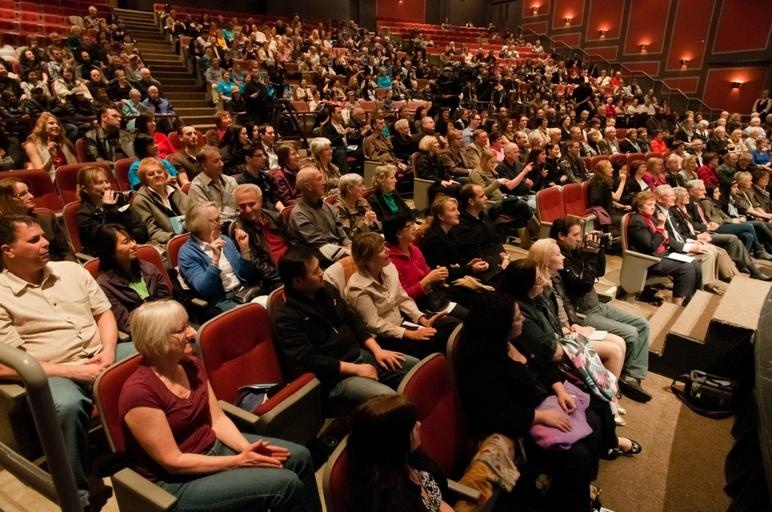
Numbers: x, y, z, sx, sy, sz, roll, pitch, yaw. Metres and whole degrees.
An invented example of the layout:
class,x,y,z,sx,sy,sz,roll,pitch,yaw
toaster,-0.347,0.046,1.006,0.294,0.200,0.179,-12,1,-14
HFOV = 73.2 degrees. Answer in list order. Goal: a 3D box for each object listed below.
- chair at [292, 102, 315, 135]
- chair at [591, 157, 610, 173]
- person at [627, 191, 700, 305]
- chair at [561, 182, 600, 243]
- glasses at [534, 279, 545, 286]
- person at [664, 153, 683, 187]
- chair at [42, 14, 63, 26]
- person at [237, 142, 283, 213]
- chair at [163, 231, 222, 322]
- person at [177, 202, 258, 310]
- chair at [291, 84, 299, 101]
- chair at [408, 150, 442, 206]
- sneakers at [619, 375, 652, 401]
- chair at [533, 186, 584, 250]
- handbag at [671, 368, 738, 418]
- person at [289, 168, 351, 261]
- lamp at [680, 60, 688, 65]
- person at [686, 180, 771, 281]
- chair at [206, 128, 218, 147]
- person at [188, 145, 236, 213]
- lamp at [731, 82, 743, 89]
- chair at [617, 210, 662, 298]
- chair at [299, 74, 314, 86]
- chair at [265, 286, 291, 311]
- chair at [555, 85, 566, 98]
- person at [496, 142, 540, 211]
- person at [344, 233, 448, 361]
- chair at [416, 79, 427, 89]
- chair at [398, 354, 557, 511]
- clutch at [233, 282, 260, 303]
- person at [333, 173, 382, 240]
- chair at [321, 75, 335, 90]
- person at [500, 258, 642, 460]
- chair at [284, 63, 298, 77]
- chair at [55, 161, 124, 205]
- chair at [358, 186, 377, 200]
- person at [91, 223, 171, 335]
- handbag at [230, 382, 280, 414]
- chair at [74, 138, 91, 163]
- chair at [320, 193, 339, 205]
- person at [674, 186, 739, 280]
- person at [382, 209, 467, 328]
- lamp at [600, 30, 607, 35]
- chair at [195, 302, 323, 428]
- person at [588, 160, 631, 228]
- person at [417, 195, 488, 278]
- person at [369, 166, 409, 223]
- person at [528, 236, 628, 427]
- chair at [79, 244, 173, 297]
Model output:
class,x,y,z,sx,sy,sz,roll,pitch,yaw
chair,-1.681,-2.854,10.710,0.651,0.667,0.547,-10,23,-29
chair,3.088,-1.269,7.359,0.226,0.215,0.443,12,22,25
person,3.253,-0.060,6.118,0.691,1.366,0.489,3,19,42
chair,2.725,-0.538,7.045,0.642,0.883,0.468,-15,11,-36
glasses,1.286,0.225,4.336,0.084,0.024,0.085,-4,7,-12
person,4.645,-1.409,8.378,0.333,0.483,0.815,12,22,26
chair,-8.180,-5.830,12.787,0.520,0.328,0.493,-20,30,-33
person,-1.434,-0.879,6.074,0.645,0.821,0.602,1,24,-5
chair,-1.839,0.187,4.746,0.357,0.612,0.385,1,13,-31
person,-1.485,0.021,4.753,0.616,1.054,0.678,-3,15,17
chair,-1.985,-3.585,11.419,0.220,0.275,0.729,-2,21,-10
chair,0.731,-1.129,8.016,0.475,0.842,0.508,23,33,38
sneakers,2.301,1.232,4.824,0.255,0.089,0.186,26,33,22
chair,2.436,-0.539,6.904,0.979,0.684,0.536,-14,22,-32
handbag,2.908,1.254,4.771,0.515,0.280,0.379,18,26,37
person,-0.639,-0.442,5.501,0.644,0.992,0.761,-17,21,-41
lamp,10.251,-6.647,17.849,0.167,0.129,0.180,1,4,2
person,4.602,-0.314,7.028,1.238,1.629,0.687,-2,31,26
chair,-2.828,-1.936,8.449,0.194,0.223,0.576,-5,21,-18
person,-1.901,-0.808,5.875,0.541,0.826,0.615,5,17,7
lamp,11.223,-5.438,16.566,0.211,0.135,0.208,-6,13,-27
chair,2.988,-0.007,6.090,0.554,1.120,0.786,3,16,30
chair,-1.788,-4.017,11.863,0.308,0.242,0.870,-1,21,-8
chair,-0.863,0.349,4.106,0.156,0.210,0.173,-2,-4,37
chair,5.527,-5.248,16.396,0.339,0.297,2.248,8,21,17
person,1.968,-1.099,7.678,0.562,1.114,0.635,-16,19,-27
person,0.149,0.453,4.467,0.880,1.267,0.554,7,20,31
chair,1.028,-4.870,14.640,0.277,0.225,0.911,3,20,2
chair,0.573,1.069,3.429,0.631,0.792,0.591,12,18,43
clutch,-1.256,0.329,4.715,0.134,0.054,0.182,4,20,18
person,-0.311,-0.508,5.831,0.450,0.819,0.532,2,13,39
chair,-1.322,-3.986,11.958,0.334,0.169,0.464,-1,26,-3
person,1.560,0.840,4.324,1.194,1.544,0.725,2,11,24
chair,-2.288,-4.561,12.733,0.320,0.324,0.830,-2,21,-10
chair,-3.228,-0.782,5.649,0.504,0.609,0.461,7,20,35
chair,-0.221,-0.770,6.310,0.141,0.186,0.153,0,7,0
person,-2.067,0.204,4.355,0.652,0.889,0.575,8,21,39
handbag,-0.956,1.021,3.763,0.192,0.067,0.198,10,27,22
chair,-4.122,-1.446,7.058,0.163,0.287,0.262,-9,23,-28
chair,-0.644,-0.652,5.934,0.142,0.171,0.149,-18,53,17
person,3.849,-0.185,6.523,0.773,1.319,0.451,-12,11,24
person,0.404,0.121,4.896,0.819,1.079,0.655,-3,11,25
lamp,8.441,-8.682,20.163,0.184,0.173,0.206,1,13,10
chair,-0.849,0.912,3.754,0.804,0.923,0.845,-14,17,-28
person,3.193,-0.748,7.429,0.624,1.202,0.501,-8,18,5
person,0.622,-0.275,5.455,0.841,1.087,0.631,-2,19,12
person,0.082,-0.709,6.187,0.545,0.732,0.554,-9,9,-15
person,1.814,0.698,4.815,1.054,1.696,0.600,0,4,-5
chair,-2.233,0.050,4.514,0.538,0.642,0.526,6,15,32
